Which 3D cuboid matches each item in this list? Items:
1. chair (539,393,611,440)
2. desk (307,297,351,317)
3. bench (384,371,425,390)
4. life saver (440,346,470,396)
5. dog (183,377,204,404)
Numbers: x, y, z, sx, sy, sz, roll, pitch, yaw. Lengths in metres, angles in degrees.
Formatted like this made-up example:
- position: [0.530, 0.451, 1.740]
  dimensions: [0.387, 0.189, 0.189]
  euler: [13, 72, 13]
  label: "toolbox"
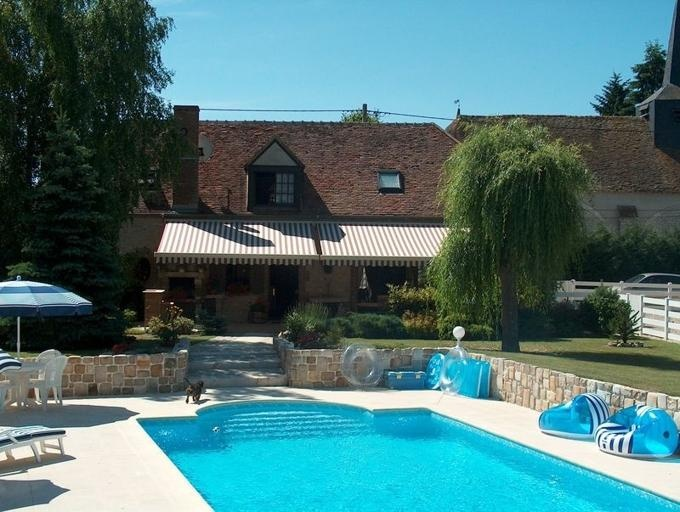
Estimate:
- position: [7.175, 5.014, 24.213]
  dimensions: [2.133, 1.275, 2.007]
  euler: [-4, -2, 22]
  label: "chair"
- position: [-0.536, 2.678, 41.798]
  dimensions: [2.094, 0.905, 1.215]
  euler: [1, 13, 1]
  label: "desk"
- position: [2.432, 4.733, 29.907]
  dimensions: [1.523, 0.565, 0.454]
  euler: [1, 12, 1]
  label: "bench"
- position: [4.103, 4.240, 28.914]
  dimensions: [0.953, 1.552, 0.748]
  euler: [3, 12, 9]
  label: "life saver"
- position: [-5.120, 4.726, 27.670]
  dimensions: [0.623, 0.846, 1.305]
  euler: [-2, 13, -12]
  label: "dog"
